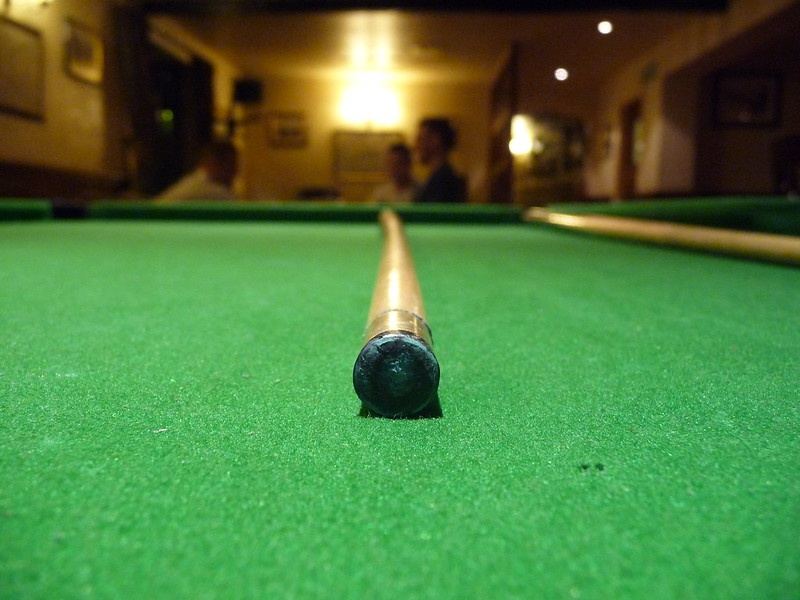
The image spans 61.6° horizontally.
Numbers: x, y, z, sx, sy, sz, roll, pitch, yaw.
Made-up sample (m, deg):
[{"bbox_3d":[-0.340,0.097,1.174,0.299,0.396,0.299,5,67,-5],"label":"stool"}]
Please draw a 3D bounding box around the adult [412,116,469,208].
[{"bbox_3d":[0.337,-1.226,5.777,0.407,0.751,1.200,2,9,1],"label":"adult"}]

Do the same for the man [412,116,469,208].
[{"bbox_3d":[0.335,-1.228,5.778,0.408,0.754,1.205,2,9,2],"label":"man"}]
